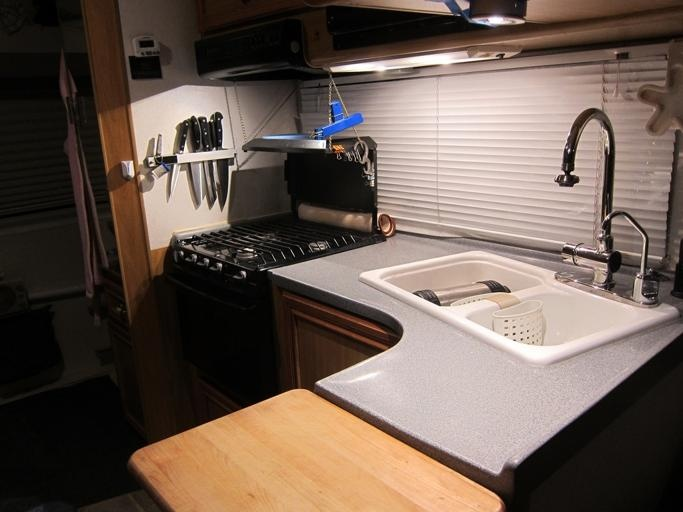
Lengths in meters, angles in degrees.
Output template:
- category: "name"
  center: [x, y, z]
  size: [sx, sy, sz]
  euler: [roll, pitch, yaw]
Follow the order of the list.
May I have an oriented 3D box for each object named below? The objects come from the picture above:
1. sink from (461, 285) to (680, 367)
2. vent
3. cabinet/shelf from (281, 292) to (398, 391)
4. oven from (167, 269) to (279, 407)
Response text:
- category: "sink"
  center: [0.674, 0.175, 1.495]
  size: [0.597, 0.104, 0.362]
  euler: [-10, 19, -23]
- category: "vent"
  center: [-0.170, -0.423, 2.460]
  size: [0.460, 0.398, 0.691]
  euler: [-18, 24, -40]
- category: "cabinet/shelf"
  center: [0.000, 0.282, 1.688]
  size: [0.198, 0.329, 0.356]
  euler: [-13, 22, -39]
- category: "oven"
  center: [-0.544, 0.351, 2.244]
  size: [0.322, 0.573, 0.606]
  euler: [-14, 23, -36]
